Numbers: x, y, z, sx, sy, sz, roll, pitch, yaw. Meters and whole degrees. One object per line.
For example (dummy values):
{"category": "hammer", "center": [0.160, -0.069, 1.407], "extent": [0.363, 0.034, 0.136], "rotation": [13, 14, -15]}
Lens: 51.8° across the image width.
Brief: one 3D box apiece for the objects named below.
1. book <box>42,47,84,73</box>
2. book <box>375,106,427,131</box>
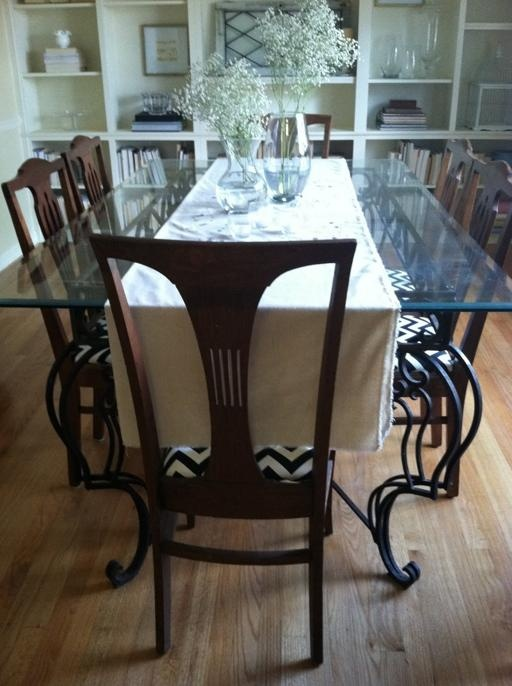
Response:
{"category": "book", "center": [-1.319, -1.931, 3.593], "extent": [0.183, 0.134, 0.197], "rotation": [-2, 30, -6]}
{"category": "book", "center": [1.016, -1.585, 3.708], "extent": [0.333, 0.136, 0.156], "rotation": [4, 29, 11]}
